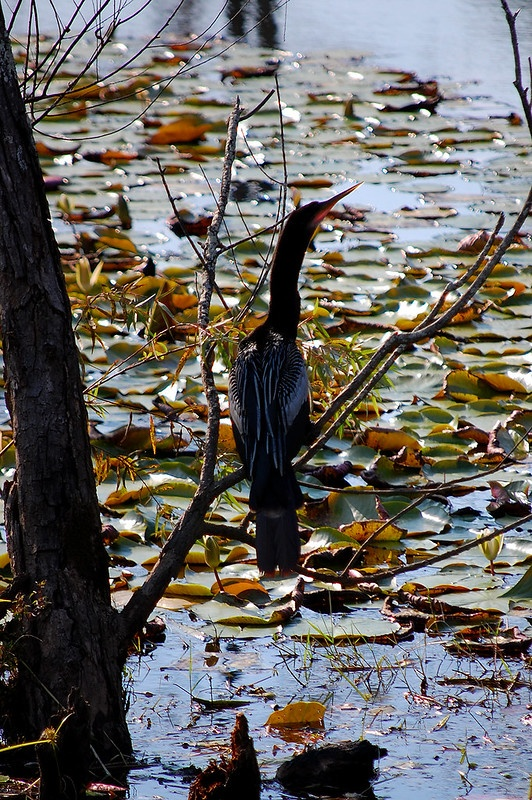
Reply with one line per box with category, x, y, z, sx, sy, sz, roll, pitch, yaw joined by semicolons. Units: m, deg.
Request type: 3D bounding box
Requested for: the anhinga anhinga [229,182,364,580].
anhinga anhinga;0.228;-0.094;3.733;0.400;0.617;1.298;1;49;10
